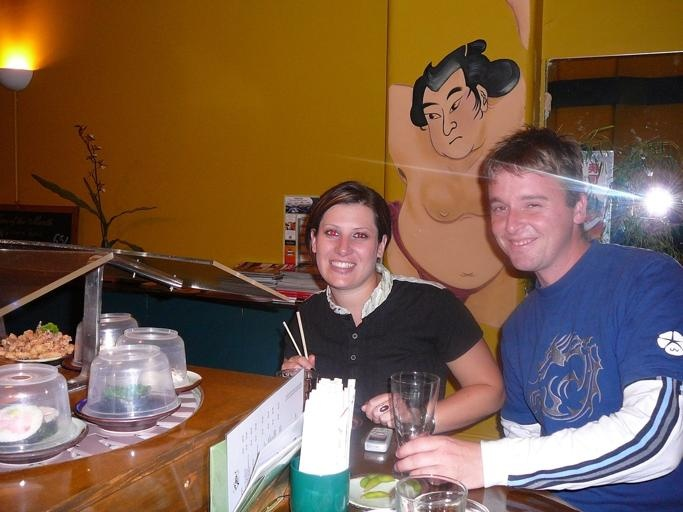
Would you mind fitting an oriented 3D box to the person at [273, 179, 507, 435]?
[{"bbox_3d":[0.216,0.197,2.453,0.694,1.079,0.710,3,10,7],"label":"person"}]

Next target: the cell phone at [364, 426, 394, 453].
[{"bbox_3d":[0.114,0.571,1.833,0.078,0.055,0.127,1,1,13],"label":"cell phone"}]

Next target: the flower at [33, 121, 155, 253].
[{"bbox_3d":[-1.782,-0.522,4.195,0.856,0.930,0.733,1,1,0],"label":"flower"}]

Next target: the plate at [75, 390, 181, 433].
[{"bbox_3d":[-0.616,0.424,1.689,0.202,0.072,0.191,7,8,24],"label":"plate"}]

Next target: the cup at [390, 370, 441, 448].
[{"bbox_3d":[0.221,0.473,1.785,0.141,0.189,0.094,1,1,5],"label":"cup"}]

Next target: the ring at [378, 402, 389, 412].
[{"bbox_3d":[0.136,0.500,1.947,0.031,0.022,0.009,-40,-5,3],"label":"ring"}]
